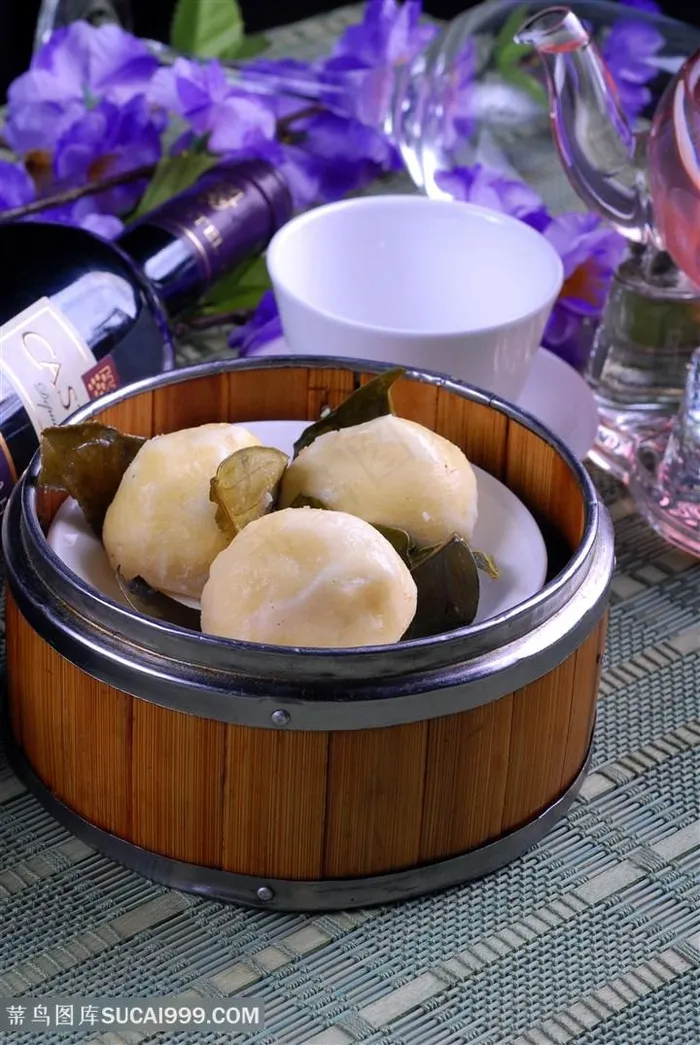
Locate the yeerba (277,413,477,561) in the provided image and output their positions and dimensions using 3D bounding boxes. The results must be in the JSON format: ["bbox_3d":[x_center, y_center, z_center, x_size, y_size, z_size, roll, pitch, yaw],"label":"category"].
[{"bbox_3d":[0.009,-0.009,0.356,0.064,0.036,0.045,6,63,-4],"label":"yeerba"}]

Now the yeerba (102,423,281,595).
[{"bbox_3d":[-0.061,-0.005,0.387,0.053,0.057,0.036,25,-12,-35],"label":"yeerba"}]

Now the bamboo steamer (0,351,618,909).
[{"bbox_3d":[-0.005,0.034,0.364,0.210,0.119,0.179,-25,39,-38],"label":"bamboo steamer"}]
